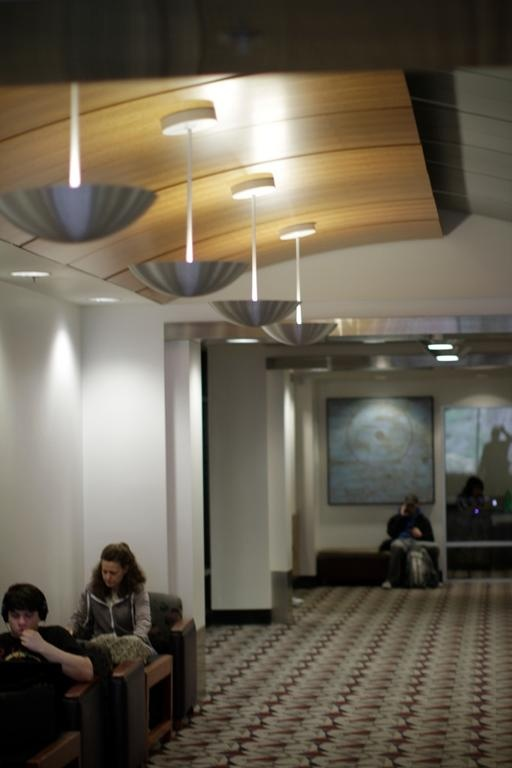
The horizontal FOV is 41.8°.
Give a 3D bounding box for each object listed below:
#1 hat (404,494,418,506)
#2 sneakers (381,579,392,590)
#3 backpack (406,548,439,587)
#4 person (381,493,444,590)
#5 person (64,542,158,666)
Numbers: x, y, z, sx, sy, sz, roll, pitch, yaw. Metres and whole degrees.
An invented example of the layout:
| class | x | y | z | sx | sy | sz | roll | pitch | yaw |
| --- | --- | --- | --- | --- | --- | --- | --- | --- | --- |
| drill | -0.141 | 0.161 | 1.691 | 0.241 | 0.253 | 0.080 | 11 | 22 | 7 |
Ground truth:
| class | x | y | z | sx | sy | sz | roll | pitch | yaw |
| --- | --- | --- | --- | --- | --- | --- | --- | --- | --- |
| hat | 2.801 | 2.065 | 12.089 | 0.165 | 0.197 | 0.205 | 0 | -8 | 4 |
| sneakers | 2.285 | 3.486 | 11.677 | 0.127 | 0.093 | 0.126 | 2 | 5 | 0 |
| backpack | 2.880 | 3.208 | 11.833 | 0.510 | 0.685 | 0.303 | 5 | -8 | -3 |
| person | 2.830 | 2.846 | 11.979 | 1.247 | 1.928 | 1.128 | 1 | -24 | 5 |
| person | -1.093 | 1.685 | 5.067 | 0.663 | 0.834 | 0.594 | 0 | -7 | -15 |
